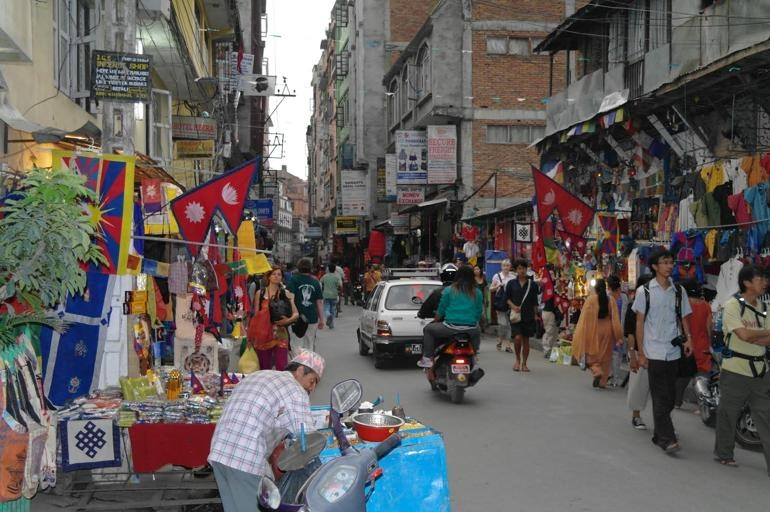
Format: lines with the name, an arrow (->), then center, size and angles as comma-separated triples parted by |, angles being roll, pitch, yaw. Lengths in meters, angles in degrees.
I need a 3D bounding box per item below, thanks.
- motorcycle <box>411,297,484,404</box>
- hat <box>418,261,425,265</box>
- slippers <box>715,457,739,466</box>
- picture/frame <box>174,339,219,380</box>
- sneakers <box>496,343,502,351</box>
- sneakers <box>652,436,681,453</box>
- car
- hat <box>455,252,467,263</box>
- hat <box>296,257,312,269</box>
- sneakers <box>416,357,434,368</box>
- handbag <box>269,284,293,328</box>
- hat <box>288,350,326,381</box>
motorcycle -> 1.233, 1.715, 16.413 | 1.262, 1.871, 2.237 | 5, 3, -14
hat -> 1.399, 0.219, 32.811 | 0.229, 0.176, 0.171 | 0, -4, -13
slippers -> 4.942, 2.966, 12.429 | 0.268, 0.129, 0.105 | -1, 3, 21
picture/frame -> -2.939, 1.632, 13.237 | 0.521, 0.460, 0.556 | 2, 8, -3
sneakers -> 2.910, 2.346, 22.070 | 0.098, 0.185, 0.185 | 0, -26, 3
sneakers -> 4.199, 2.807, 12.889 | 0.156, 0.210, 0.466 | 7, 16, -13
car -> 0.148, 1.343, 19.846 | 1.233, 1.172, 2.285 | -1, 7, -10
hat -> 2.108, 0.051, 23.979 | 0.222, 0.368, 0.354 | 3, -2, 2
hat -> -1.793, 0.164, 18.861 | 0.213, 0.299, 0.291 | 1, 24, 4
sneakers -> 0.744, 1.992, 16.037 | 0.287, 0.213, 0.184 | 2, 2, 4
handbag -> -1.861, 0.930, 15.337 | 0.354, 0.562, 0.301 | 0, -26, -13
hat -> -0.875, 1.196, 9.742 | 0.338, 0.227, 0.355 | 24, -13, 2
